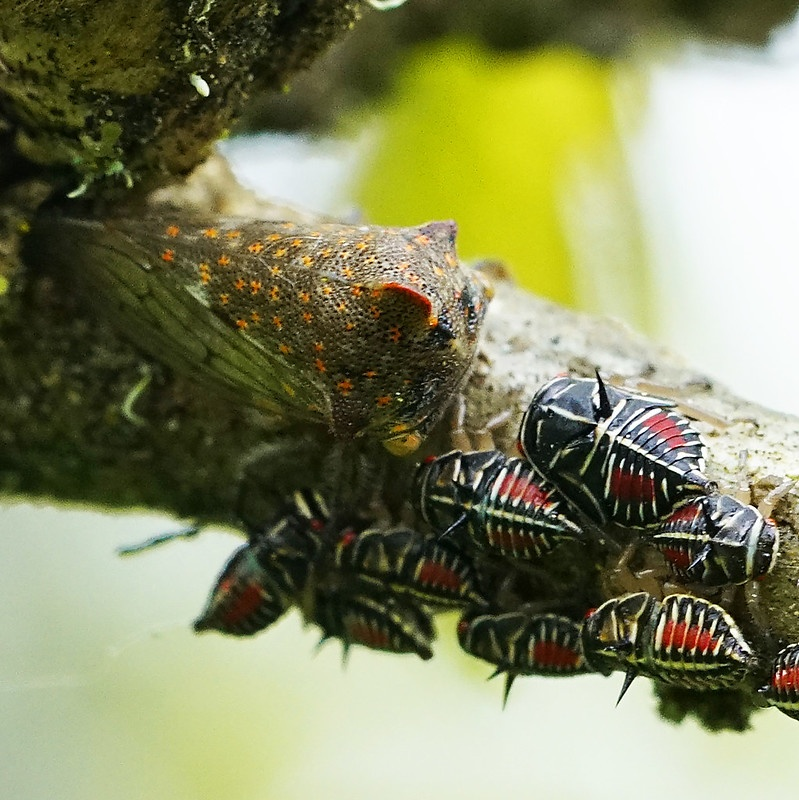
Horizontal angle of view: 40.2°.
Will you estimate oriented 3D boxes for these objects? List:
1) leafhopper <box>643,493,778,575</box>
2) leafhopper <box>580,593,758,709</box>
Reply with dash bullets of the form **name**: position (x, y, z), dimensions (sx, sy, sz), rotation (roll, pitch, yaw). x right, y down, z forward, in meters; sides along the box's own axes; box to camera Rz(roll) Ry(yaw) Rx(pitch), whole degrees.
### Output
- **leafhopper**: position (0.617, 0.277, 2.148), dimensions (0.102, 0.246, 0.141), rotation (26, 69, -56)
- **leafhopper**: position (0.520, 0.481, 2.176), dimensions (0.312, 0.180, 0.124), rotation (11, 30, 22)
